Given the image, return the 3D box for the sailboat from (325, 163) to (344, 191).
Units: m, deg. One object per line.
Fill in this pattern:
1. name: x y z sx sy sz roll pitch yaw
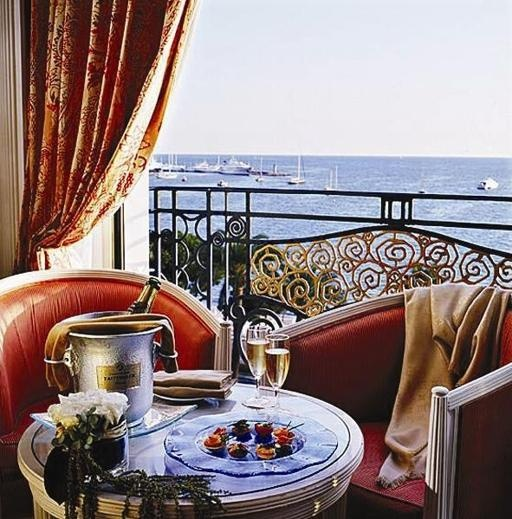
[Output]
1. sailboat: 4.562 -4.866 33.917 0.770 1.346 1.587 5 11 8

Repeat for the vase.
1. vase: -0.241 0.310 0.943 0.069 0.074 0.067 3 -12 -41

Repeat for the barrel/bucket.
1. barrel/bucket: -0.273 0.145 1.074 0.237 0.206 0.206 -1 7 -9

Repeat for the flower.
1. flower: -0.292 0.261 0.919 0.111 0.073 0.112 -3 -1 -39

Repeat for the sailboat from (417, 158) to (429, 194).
1. sailboat: 9.525 -4.630 32.507 0.639 1.581 1.834 7 11 15

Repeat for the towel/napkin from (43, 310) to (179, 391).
1. towel/napkin: -0.276 0.151 1.106 0.211 0.127 0.176 6 -3 -2
